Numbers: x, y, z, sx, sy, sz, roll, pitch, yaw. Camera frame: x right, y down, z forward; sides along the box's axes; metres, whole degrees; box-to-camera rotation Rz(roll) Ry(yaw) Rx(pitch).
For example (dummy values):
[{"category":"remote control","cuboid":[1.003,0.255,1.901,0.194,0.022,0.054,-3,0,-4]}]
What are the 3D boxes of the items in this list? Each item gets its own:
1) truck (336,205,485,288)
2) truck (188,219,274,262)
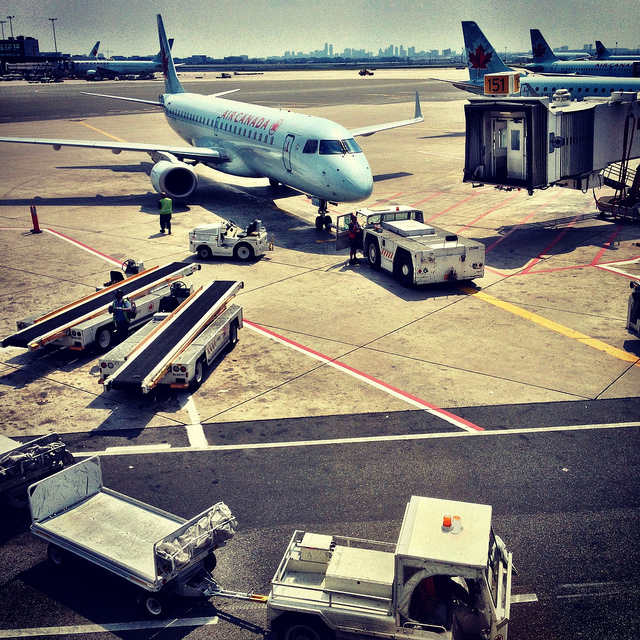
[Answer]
[{"category":"truck","cuboid":[3.558,-3.081,27.992,3.775,1.852,5.308,-9,26,-20]},{"category":"truck","cuboid":[-3.819,-3.437,30.376,3.601,1.410,1.561,3,11,3]}]
